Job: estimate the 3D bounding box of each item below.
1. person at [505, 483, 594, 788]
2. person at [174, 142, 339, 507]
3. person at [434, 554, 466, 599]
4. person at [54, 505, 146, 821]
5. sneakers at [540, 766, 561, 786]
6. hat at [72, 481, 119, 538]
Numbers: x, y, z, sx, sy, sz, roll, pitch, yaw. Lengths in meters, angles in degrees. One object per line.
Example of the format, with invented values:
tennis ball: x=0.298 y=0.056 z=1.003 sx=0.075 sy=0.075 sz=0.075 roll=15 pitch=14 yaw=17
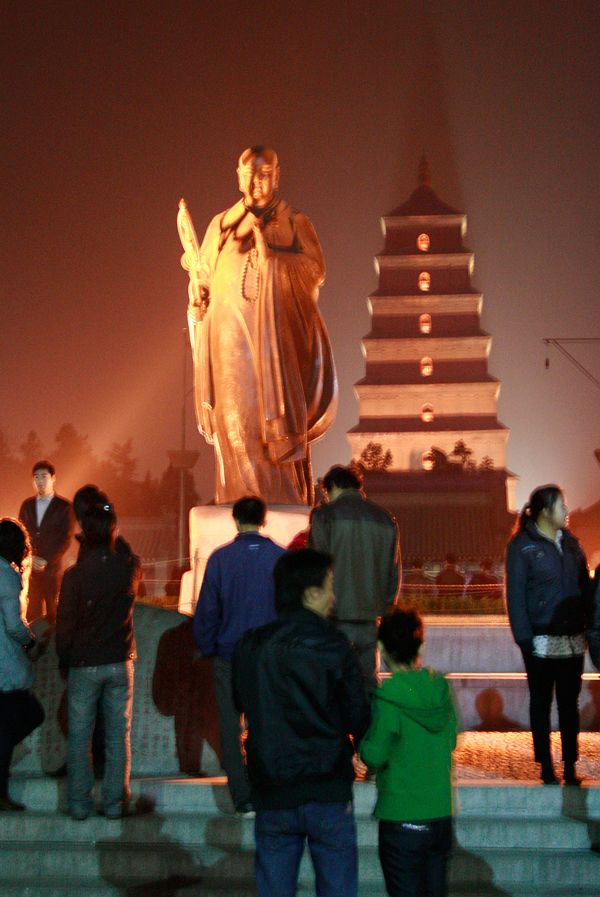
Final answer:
person: x=1.196 y=0.873 z=4.508 sx=0.402 sy=1.391 sz=0.351 roll=-3 pitch=-13 yaw=13
person: x=-0.356 y=-0.987 z=8.025 sx=1.267 sy=2.956 sz=0.951 roll=0 pitch=-13 yaw=1
person: x=2.681 y=2.281 z=16.881 sx=0.513 sy=0.477 sz=0.906 roll=1 pitch=10 yaw=7
person: x=-0.937 y=0.954 z=4.352 sx=0.351 sy=1.442 sz=0.397 roll=2 pitch=-13 yaw=-10
sneakers: x=1.165 y=1.525 z=4.428 sx=0.084 sy=0.083 sz=0.207 roll=-3 pitch=-13 yaw=13
hat: x=-0.941 y=0.285 z=4.441 sx=0.190 sy=0.242 sz=0.252 roll=0 pitch=-4 yaw=-1
